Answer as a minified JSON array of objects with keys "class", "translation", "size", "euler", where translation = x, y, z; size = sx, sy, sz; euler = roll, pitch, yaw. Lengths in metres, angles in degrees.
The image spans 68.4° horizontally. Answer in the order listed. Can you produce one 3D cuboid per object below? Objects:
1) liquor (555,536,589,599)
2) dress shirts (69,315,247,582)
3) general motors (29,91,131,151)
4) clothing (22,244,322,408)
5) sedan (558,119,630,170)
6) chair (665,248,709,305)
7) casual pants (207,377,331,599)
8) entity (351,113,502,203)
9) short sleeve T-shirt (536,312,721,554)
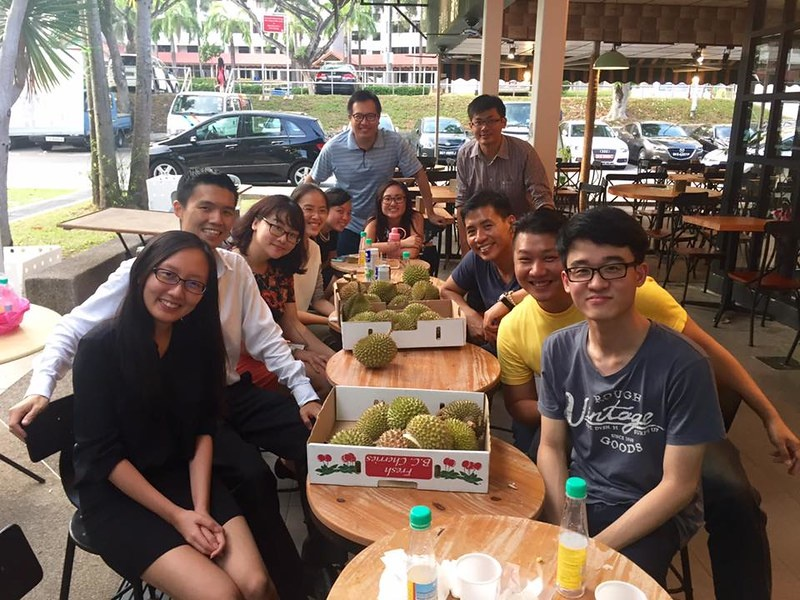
[{"class":"liquor","translation":[0.474,0.723,1.622],"size":[0.078,0.151,0.092],"euler":[6,17,19]},{"class":"dress shirts","translation":[-0.888,0.492,2.118],"size":[0.527,0.770,0.497],"euler":[-10,19,-31]},{"class":"general motors","translation":[-3.357,-1.874,6.292],"size":[0.526,0.448,0.888],"euler":[-1,13,2]},{"class":"clothing","translation":[-0.950,0.134,2.637],"size":[0.903,0.509,0.496],"euler":[5,21,-26]},{"class":"sedan","translation":[4.861,-4.037,15.242],"size":[1.331,1.160,3.134],"euler":[0,21,2]},{"class":"chair","translation":[3.152,-0.303,6.383],"size":[0.467,0.555,0.590],"euler":[-7,3,1]},{"class":"casual pants","translation":[-0.522,0.748,2.471],"size":[0.379,0.417,0.892],"euler":[28,21,-51]},{"class":"entity","translation":[0.222,-1.197,4.990],"size":[0.648,0.579,1.145],"euler":[-2,14,-9]},{"class":"short sleeve T-shirt","translation":[0.805,0.484,2.181],"size":[0.399,0.712,0.696],"euler":[-12,11,-41]}]
